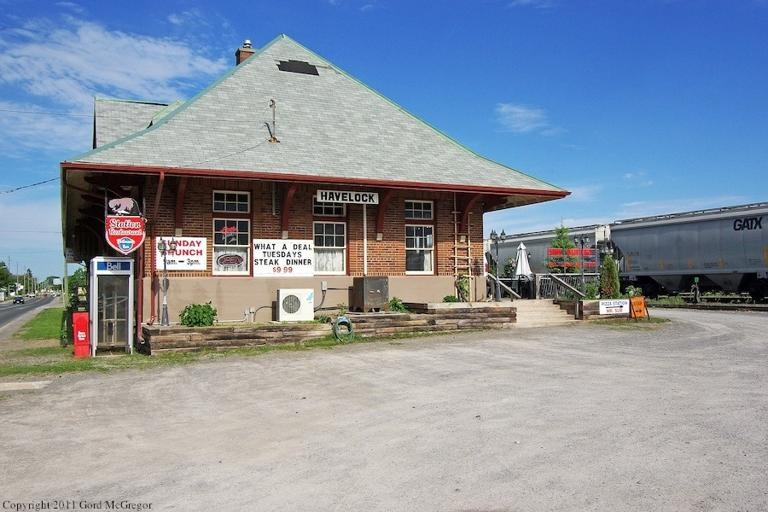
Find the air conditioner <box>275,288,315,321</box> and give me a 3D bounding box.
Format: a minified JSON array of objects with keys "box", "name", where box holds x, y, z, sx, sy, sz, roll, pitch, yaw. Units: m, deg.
[{"box":[-2.980,1.759,19.447,1.137,0.902,0.425,1,-5,-20],"name":"air conditioner"}]
